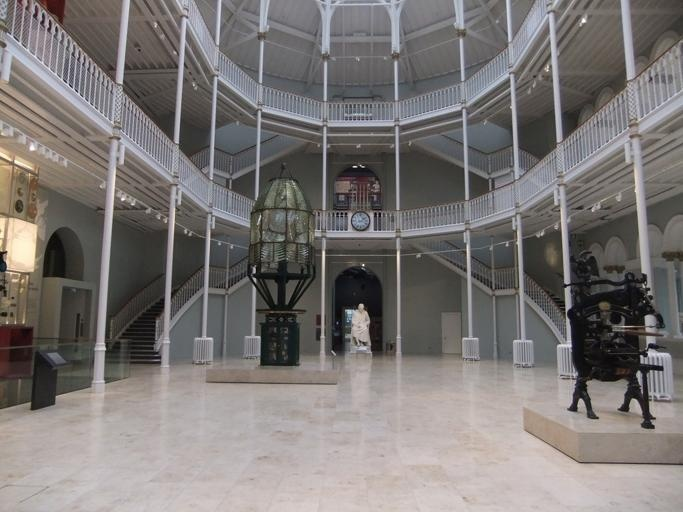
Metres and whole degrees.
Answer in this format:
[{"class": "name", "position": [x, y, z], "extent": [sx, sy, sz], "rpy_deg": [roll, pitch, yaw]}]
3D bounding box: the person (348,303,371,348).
[{"class": "person", "position": [0.908, 3.274, 22.696], "extent": [0.831, 2.123, 0.831], "rpy_deg": [5, -12, -23]}]
